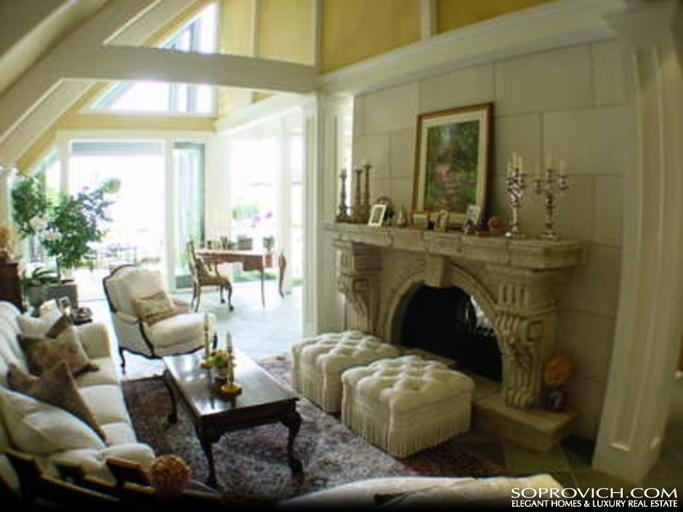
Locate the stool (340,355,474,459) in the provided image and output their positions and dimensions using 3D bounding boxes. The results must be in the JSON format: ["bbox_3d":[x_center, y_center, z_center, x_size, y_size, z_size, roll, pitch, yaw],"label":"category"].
[{"bbox_3d":[0.544,1.056,3.888,0.714,0.405,0.707,-1,2,-41],"label":"stool"}]

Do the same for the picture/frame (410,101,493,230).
[{"bbox_3d":[1.005,-0.805,4.492,0.063,1.359,1.149,1,4,-35],"label":"picture/frame"}]

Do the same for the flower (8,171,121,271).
[{"bbox_3d":[-4.050,-0.476,7.183,1.171,1.335,2.243,-7,11,-39],"label":"flower"}]

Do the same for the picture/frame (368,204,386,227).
[{"bbox_3d":[0.365,-0.409,5.164,0.019,0.276,0.233,20,-3,-33],"label":"picture/frame"}]

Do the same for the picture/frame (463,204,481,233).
[{"bbox_3d":[1.102,-0.296,4.201,0.059,0.215,0.182,25,-18,-39],"label":"picture/frame"}]

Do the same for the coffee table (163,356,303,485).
[{"bbox_3d":[-0.774,0.836,3.622,0.668,0.575,1.241,-5,11,-27],"label":"coffee table"}]

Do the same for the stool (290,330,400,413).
[{"bbox_3d":[0.046,0.947,4.631,0.713,0.388,0.709,-7,11,-32],"label":"stool"}]
